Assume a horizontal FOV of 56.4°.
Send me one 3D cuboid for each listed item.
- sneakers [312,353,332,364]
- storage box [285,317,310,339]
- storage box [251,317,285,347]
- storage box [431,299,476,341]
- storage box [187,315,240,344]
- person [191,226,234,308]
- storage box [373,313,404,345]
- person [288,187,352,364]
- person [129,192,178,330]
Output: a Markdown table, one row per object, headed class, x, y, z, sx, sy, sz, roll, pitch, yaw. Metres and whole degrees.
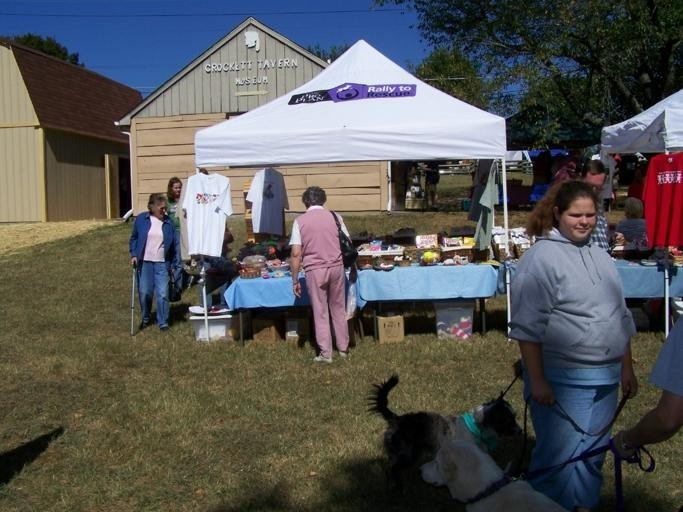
| class | x | y | z | sx | sy | sz | roll | pitch | yaw |
| --- | --- | --- | --- | --- | --- | --- | --- | --- | --- |
| sneakers | -0.253 | 1.287 | 8.206 | 0.252 | 0.145 | 0.102 | 6 | 6 | 18 |
| storage box | -0.632 | 1.027 | 9.106 | 0.260 | 0.319 | 0.283 | 3 | 8 | 25 |
| storage box | -1.066 | 1.060 | 9.187 | 0.320 | 0.394 | 0.359 | 0 | 3 | 5 |
| storage box | 1.590 | 0.864 | 8.909 | 0.523 | 0.633 | 0.493 | 0 | 5 | 3 |
| storage box | -1.828 | 1.041 | 9.223 | 0.496 | 0.281 | 0.406 | -1 | 0 | -8 |
| person | -1.869 | 0.348 | 9.652 | 0.545 | 1.210 | 1.506 | -3 | 13 | -5 |
| storage box | 0.677 | 0.982 | 8.872 | 0.326 | 0.394 | 0.359 | 0 | 4 | 4 |
| person | -0.277 | 0.266 | 8.130 | 0.705 | 2.121 | 0.471 | -1 | 11 | 5 |
| person | -2.816 | 0.107 | 9.685 | 0.685 | 2.071 | 0.600 | -2 | 11 | -5 |
